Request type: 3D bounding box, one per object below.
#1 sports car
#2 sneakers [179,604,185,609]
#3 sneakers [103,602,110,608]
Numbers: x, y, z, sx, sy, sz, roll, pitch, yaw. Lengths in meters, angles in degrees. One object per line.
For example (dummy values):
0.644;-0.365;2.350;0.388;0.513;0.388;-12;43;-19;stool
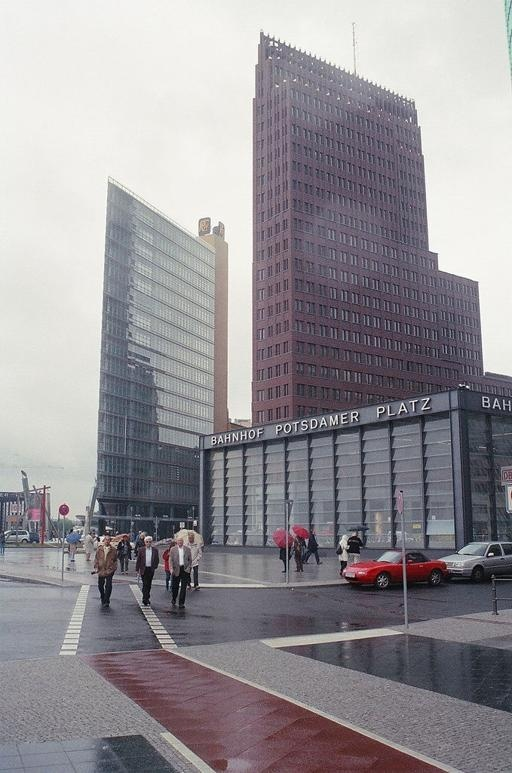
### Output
4.998;6.593;24.578;4.077;1.243;1.611;5;-10;-37;sports car
-1.882;5.658;17.673;0.069;0.149;0.212;8;-21;-28;sneakers
-3.806;5.584;17.559;0.079;0.111;0.254;2;-24;-14;sneakers
